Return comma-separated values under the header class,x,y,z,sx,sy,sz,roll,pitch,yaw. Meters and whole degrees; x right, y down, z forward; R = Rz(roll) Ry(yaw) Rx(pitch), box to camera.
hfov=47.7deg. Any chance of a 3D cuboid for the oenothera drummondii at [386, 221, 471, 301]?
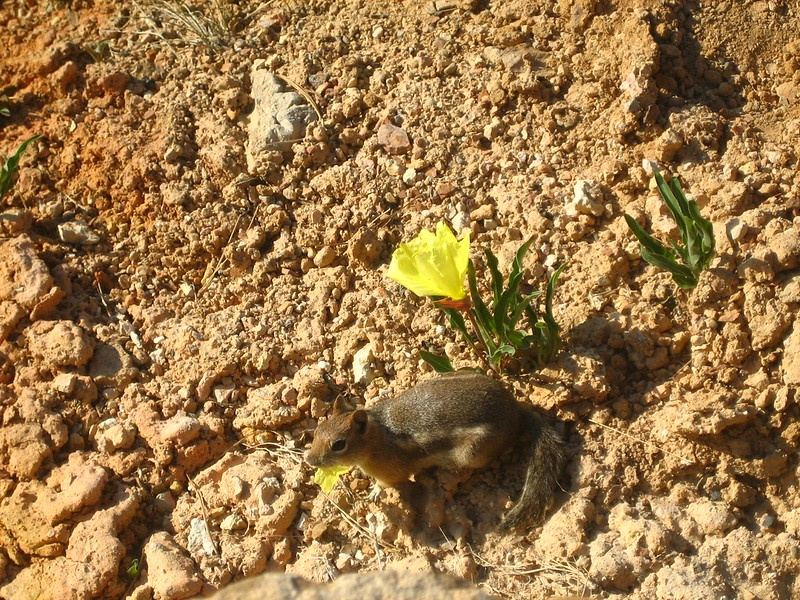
class,x,y,z,sx,sy,sz,roll,pitch,yaw
oenothera drummondii,0.224,-0.191,5.550,0.534,0.444,0.307,-38,48,-4
